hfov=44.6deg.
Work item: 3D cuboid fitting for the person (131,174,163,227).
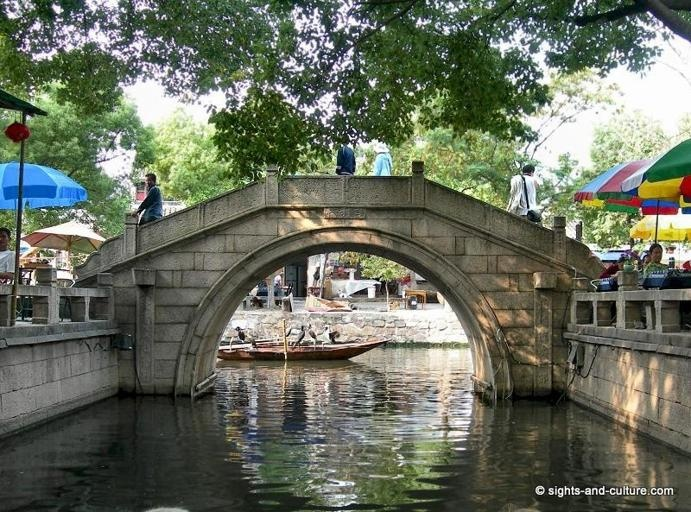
[{"bbox_3d":[-5.047,-1.455,21.363,0.712,1.290,1.138,-1,4,-13],"label":"person"}]

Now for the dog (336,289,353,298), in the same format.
[{"bbox_3d":[-0.147,1.825,41.296,0.597,0.448,1.617,0,3,-2],"label":"dog"}]

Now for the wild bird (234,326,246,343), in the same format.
[{"bbox_3d":[-4.169,3.069,32.867,0.391,0.886,0.277,5,14,2],"label":"wild bird"}]

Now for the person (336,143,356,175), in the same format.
[{"bbox_3d":[-0.049,-2.483,21.626,0.460,0.787,1.148,0,3,-1],"label":"person"}]

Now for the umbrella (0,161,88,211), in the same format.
[{"bbox_3d":[-7.107,-1.638,19.282,1.666,1.013,2.212,0,3,-1],"label":"umbrella"}]

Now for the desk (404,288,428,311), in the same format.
[{"bbox_3d":[3.282,2.038,39.360,1.288,1.027,0.896,0,-6,-1],"label":"desk"}]

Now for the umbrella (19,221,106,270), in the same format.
[{"bbox_3d":[-8.878,-0.430,26.218,2.114,1.342,2.035,4,-8,-30],"label":"umbrella"}]

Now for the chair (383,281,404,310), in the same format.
[{"bbox_3d":[2.204,2.020,42.744,1.241,1.817,1.057,-2,1,6],"label":"chair"}]
